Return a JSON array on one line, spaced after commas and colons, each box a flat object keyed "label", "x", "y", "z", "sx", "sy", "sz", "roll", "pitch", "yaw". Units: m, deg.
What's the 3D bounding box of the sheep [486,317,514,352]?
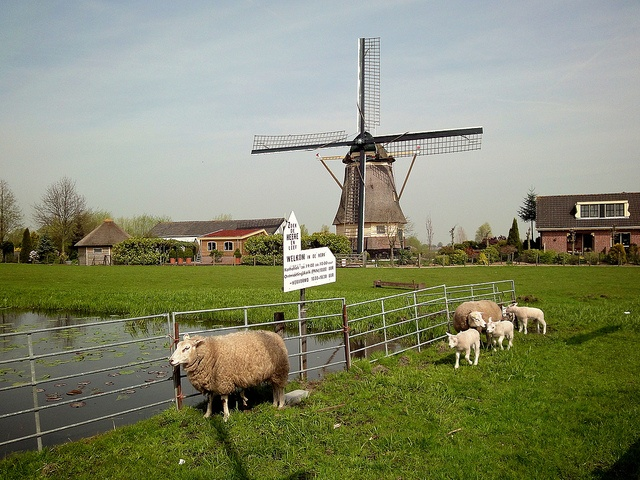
[{"label": "sheep", "x": 5.127, "y": 2.619, "z": 15.818, "sx": 1.098, "sy": 0.881, "sz": 0.333, "roll": -3, "pitch": 2, "yaw": -31}]

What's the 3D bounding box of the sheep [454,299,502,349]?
[{"label": "sheep", "x": 4.652, "y": 2.326, "z": 15.968, "sx": 0.737, "sy": 1.111, "sz": 1.793, "roll": 3, "pitch": 15, "yaw": -5}]

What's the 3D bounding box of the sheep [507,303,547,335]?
[{"label": "sheep", "x": 6.513, "y": 2.464, "z": 17.660, "sx": 1.224, "sy": 0.988, "sz": 0.375, "roll": 0, "pitch": 2, "yaw": 12}]

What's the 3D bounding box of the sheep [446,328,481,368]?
[{"label": "sheep", "x": 3.826, "y": 2.814, "z": 14.715, "sx": 1.221, "sy": 0.968, "sz": 0.397, "roll": -6, "pitch": 0, "yaw": -37}]
